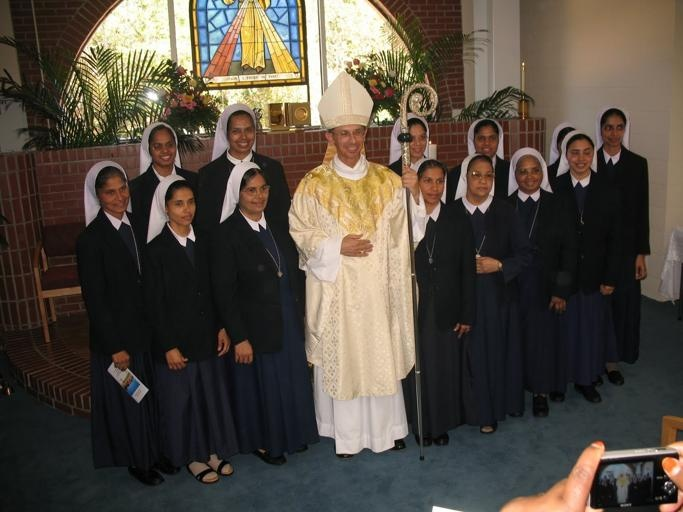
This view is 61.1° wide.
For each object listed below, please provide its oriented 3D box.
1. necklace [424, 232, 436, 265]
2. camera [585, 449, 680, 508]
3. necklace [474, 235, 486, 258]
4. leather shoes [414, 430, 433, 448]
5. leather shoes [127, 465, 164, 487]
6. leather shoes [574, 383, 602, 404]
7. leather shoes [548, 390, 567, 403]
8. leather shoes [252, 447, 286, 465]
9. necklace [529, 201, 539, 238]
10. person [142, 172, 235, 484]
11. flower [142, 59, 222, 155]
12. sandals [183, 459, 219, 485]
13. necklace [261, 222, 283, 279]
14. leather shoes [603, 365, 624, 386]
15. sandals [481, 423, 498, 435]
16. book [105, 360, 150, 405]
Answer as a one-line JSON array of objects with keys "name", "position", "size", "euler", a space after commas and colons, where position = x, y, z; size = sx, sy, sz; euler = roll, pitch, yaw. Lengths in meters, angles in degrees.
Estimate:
[{"name": "necklace", "position": [0.641, -0.041, 4.134], "size": [0.057, 0.195, 0.040], "euler": [-3, 12, 4]}, {"name": "camera", "position": [0.880, 0.674, 1.742], "size": [0.265, 0.187, 0.063], "euler": [-3, 10, -5]}, {"name": "necklace", "position": [1.031, -0.062, 4.324], "size": [0.063, 0.199, 0.022], "euler": [9, -5, 20]}, {"name": "leather shoes", "position": [0.600, 1.333, 4.253], "size": [0.078, 0.047, 0.126], "euler": [-3, 26, 1]}, {"name": "leather shoes", "position": [-1.353, 1.495, 4.027], "size": [0.261, 0.112, 0.094], "euler": [9, 24, 28]}, {"name": "leather shoes", "position": [1.990, 1.087, 4.729], "size": [0.087, 0.172, 0.244], "euler": [-21, 16, -18]}, {"name": "leather shoes", "position": [1.734, 1.139, 4.671], "size": [0.062, 0.120, 0.082], "euler": [-5, 49, 7]}, {"name": "leather shoes", "position": [-0.517, 1.425, 4.157], "size": [0.240, 0.100, 0.091], "euler": [7, 11, 32]}, {"name": "necklace", "position": [1.507, -0.283, 4.532], "size": [0.068, 0.260, 0.037], "euler": [0, -11, 44]}, {"name": "person", "position": [-1.035, 0.457, 3.867], "size": [0.532, 1.911, 0.315], "euler": [-9, 13, -21]}, {"name": "flower", "position": [-1.818, -1.630, 6.723], "size": [0.758, 0.894, 0.832], "euler": [-10, -8, -19]}, {"name": "sandals", "position": [-0.939, 1.485, 3.974], "size": [0.100, 0.067, 0.251], "euler": [-15, 21, -40]}, {"name": "necklace", "position": [-0.479, -0.034, 3.960], "size": [0.143, 0.353, 0.092], "euler": [7, 16, 42]}, {"name": "leather shoes", "position": [2.327, 1.015, 4.947], "size": [0.093, 0.059, 0.231], "euler": [-17, 14, 9]}, {"name": "sandals", "position": [1.095, 1.292, 4.320], "size": [0.073, 0.048, 0.140], "euler": [-1, 4, 10]}, {"name": "book", "position": [-1.430, 0.838, 3.873], "size": [0.290, 0.250, 0.075], "euler": [3, 14, 30]}]
